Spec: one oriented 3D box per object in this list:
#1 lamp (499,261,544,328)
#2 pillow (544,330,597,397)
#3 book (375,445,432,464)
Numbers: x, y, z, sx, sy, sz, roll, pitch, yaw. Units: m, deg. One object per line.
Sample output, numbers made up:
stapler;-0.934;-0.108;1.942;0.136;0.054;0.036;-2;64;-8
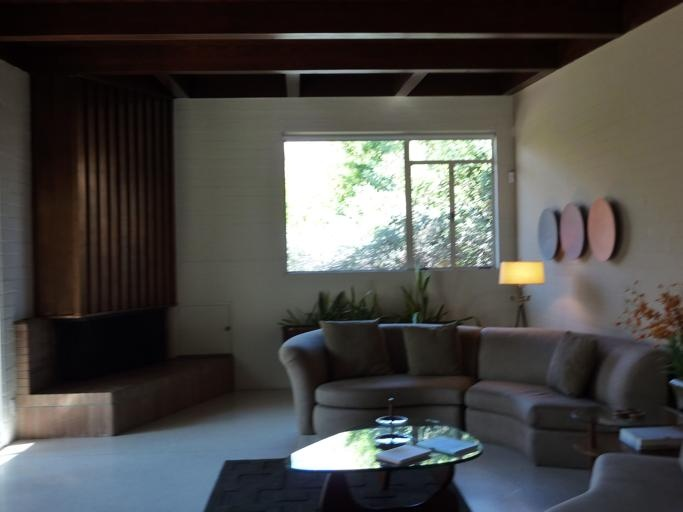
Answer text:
lamp;2.019;0.448;6.300;0.523;0.740;0.500;6;-5;-23
pillow;1.954;0.933;4.763;0.279;0.466;0.340;-3;3;-16
book;0.420;1.302;3.628;0.352;0.040;0.230;-4;3;-33
